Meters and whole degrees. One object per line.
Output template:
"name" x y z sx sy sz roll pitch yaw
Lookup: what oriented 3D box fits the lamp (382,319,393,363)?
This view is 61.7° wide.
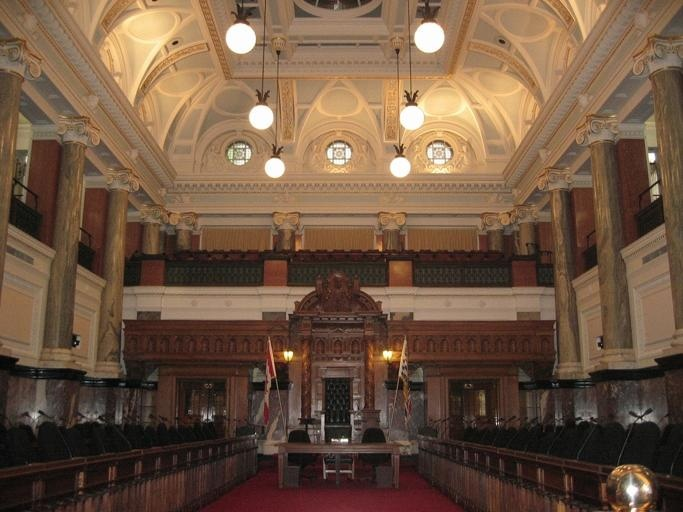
"lamp" 1.242 2.324 15.695 0.300 1.216 0.572 -3 -19 8

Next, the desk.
"desk" -0.088 3.992 10.950 2.286 0.892 0.815 1 -12 0

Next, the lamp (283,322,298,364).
"lamp" -1.427 2.423 15.310 0.366 0.792 1.016 2 -20 -6
